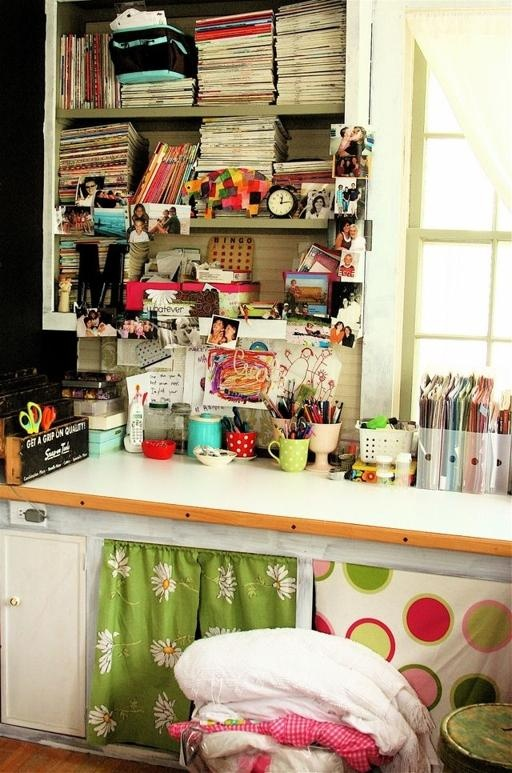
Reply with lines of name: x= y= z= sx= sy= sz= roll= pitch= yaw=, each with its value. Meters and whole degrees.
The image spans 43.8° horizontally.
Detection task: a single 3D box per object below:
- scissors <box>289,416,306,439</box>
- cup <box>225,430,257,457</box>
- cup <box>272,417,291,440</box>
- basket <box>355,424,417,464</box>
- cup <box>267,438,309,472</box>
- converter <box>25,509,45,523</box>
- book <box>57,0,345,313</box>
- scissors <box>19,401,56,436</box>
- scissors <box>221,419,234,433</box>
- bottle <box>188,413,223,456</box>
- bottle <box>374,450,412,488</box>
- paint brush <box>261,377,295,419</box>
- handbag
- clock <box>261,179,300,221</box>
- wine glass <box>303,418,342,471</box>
scissors: x=0.139 y=0.152 z=2.189 sx=0.032 sy=0.099 sz=0.035 roll=3 pitch=-35 yaw=10
cup: x=-0.052 y=0.205 z=2.263 sx=0.085 sy=0.079 sz=0.093 roll=0 pitch=0 yaw=0
cup: x=0.085 y=0.143 z=2.214 sx=0.064 sy=0.072 sz=0.062 roll=1 pitch=0 yaw=0
basket: x=0.408 y=0.183 z=2.033 sx=0.149 sy=0.092 sz=0.121 roll=-2 pitch=-3 yaw=15
cup: x=0.101 y=0.233 z=2.166 sx=0.139 sy=0.116 sz=0.092 roll=0 pitch=0 yaw=20
converter: x=-0.631 y=0.369 z=1.812 sx=0.052 sy=0.038 sz=0.013 roll=5 pitch=16 yaw=20
book: x=-0.185 y=-0.806 z=2.193 sx=1.008 sy=1.034 sz=0.321 roll=2 pitch=8 yaw=16
scissors: x=-0.665 y=0.100 z=1.927 sx=0.007 sy=0.063 sz=0.097 roll=-3 pitch=4 yaw=25
scissors: x=-0.110 y=0.146 z=2.352 sx=0.040 sy=0.054 sz=0.012 roll=-2 pitch=-8 yaw=3
bottle: x=-0.187 y=0.169 z=2.282 sx=0.128 sy=0.157 sz=0.135 roll=1 pitch=-1 yaw=-4
bottle: x=0.423 y=0.259 z=1.999 sx=0.125 sy=0.132 sz=0.073 roll=1 pitch=2 yaw=22
paint brush: x=0.084 y=0.073 z=2.307 sx=0.105 sy=0.175 sz=0.039 roll=-9 pitch=-12 yaw=7
handbag: x=-0.369 y=-1.097 z=2.150 sx=0.193 sy=0.129 sz=0.168 roll=2 pitch=16 yaw=16
clock: x=0.085 y=-0.620 z=2.112 sx=0.133 sy=0.192 sz=0.054 roll=0 pitch=1 yaw=7
wine glass: x=0.231 y=0.199 z=2.171 sx=0.129 sy=0.195 sz=0.140 roll=2 pitch=-2 yaw=-8
